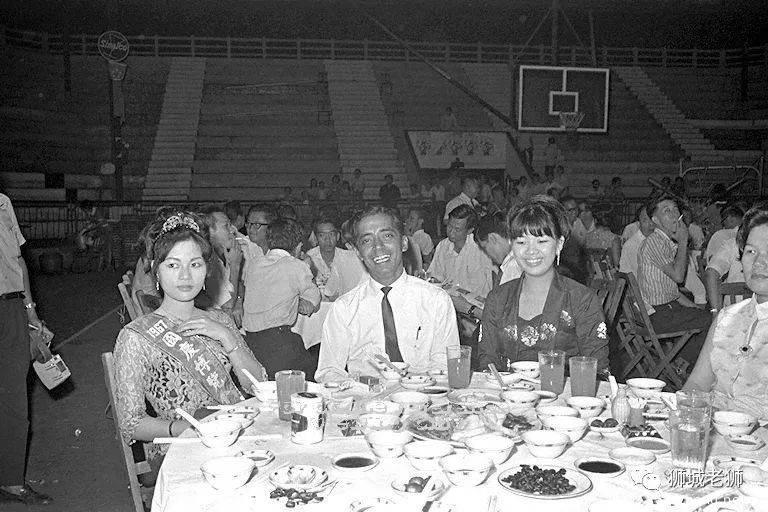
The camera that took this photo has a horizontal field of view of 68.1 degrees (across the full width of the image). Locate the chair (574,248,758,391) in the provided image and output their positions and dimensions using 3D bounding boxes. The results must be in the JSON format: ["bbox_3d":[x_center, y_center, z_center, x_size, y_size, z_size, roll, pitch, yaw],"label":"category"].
[{"bbox_3d":[3.239,0.561,6.333,1.631,2.000,1.263,-3,6,-3],"label":"chair"}]

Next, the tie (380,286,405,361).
[{"bbox_3d":[0.035,0.481,3.853,0.142,0.456,0.026,-7,-6,6],"label":"tie"}]

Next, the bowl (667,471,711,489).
[{"bbox_3d":[1.209,0.891,2.270,0.136,0.043,0.128,0,0,0],"label":"bowl"}]

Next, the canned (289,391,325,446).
[{"bbox_3d":[-0.323,0.746,2.609,0.201,0.217,0.195,1,3,-6],"label":"canned"}]
